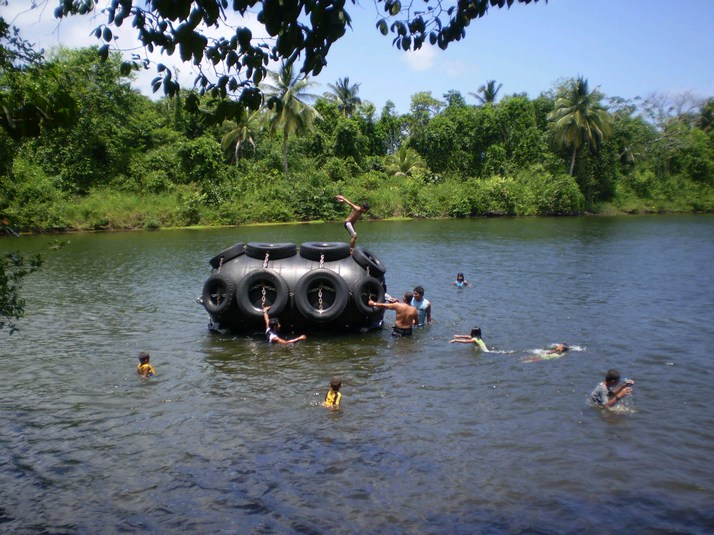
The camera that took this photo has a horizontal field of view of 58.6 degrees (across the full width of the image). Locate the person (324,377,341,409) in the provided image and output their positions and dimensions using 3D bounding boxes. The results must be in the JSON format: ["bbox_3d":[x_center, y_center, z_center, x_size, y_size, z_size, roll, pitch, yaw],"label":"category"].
[{"bbox_3d":[-0.504,2.553,13.503,0.414,0.575,0.801,0,14,-1],"label":"person"}]

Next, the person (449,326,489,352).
[{"bbox_3d":[3.155,1.891,17.101,0.571,0.392,0.800,5,5,-33],"label":"person"}]

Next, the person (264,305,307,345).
[{"bbox_3d":[-1.965,1.591,17.031,0.861,0.823,1.427,-19,34,-25],"label":"person"}]

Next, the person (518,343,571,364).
[{"bbox_3d":[4.863,2.190,16.257,0.915,0.242,0.554,-12,11,-20],"label":"person"}]

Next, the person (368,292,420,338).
[{"bbox_3d":[1.064,1.356,17.886,1.194,1.229,0.404,3,1,-21],"label":"person"}]
